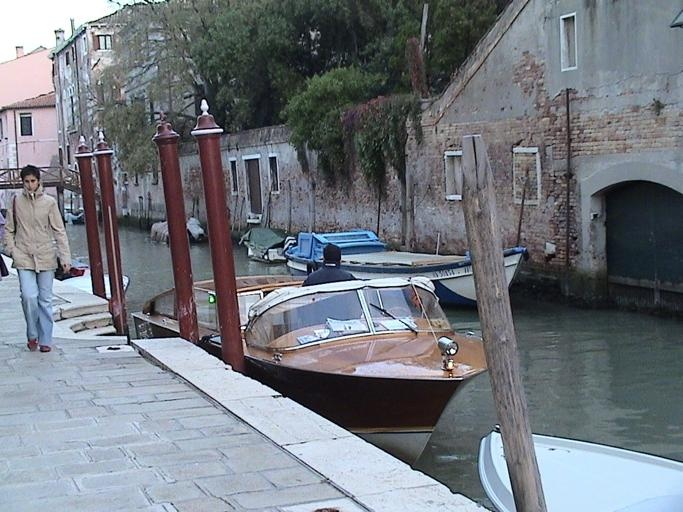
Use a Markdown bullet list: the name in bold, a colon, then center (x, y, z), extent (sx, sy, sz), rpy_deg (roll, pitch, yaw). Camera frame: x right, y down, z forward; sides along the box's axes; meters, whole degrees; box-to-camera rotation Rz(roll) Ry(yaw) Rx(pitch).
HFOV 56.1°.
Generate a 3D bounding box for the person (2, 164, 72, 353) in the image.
- **person**: center (-3.420, 0.071, 7.287), extent (0.697, 2.190, 0.600), rpy_deg (-1, 7, -3)

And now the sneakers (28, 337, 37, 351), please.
- **sneakers**: center (-3.665, 1.045, 7.615), extent (0.097, 0.157, 0.044), rpy_deg (1, 10, -9)

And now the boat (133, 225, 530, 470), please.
- **boat**: center (-0.481, 0.928, 8.242), extent (1.831, 1.739, 4.826), rpy_deg (-6, 7, -29)
